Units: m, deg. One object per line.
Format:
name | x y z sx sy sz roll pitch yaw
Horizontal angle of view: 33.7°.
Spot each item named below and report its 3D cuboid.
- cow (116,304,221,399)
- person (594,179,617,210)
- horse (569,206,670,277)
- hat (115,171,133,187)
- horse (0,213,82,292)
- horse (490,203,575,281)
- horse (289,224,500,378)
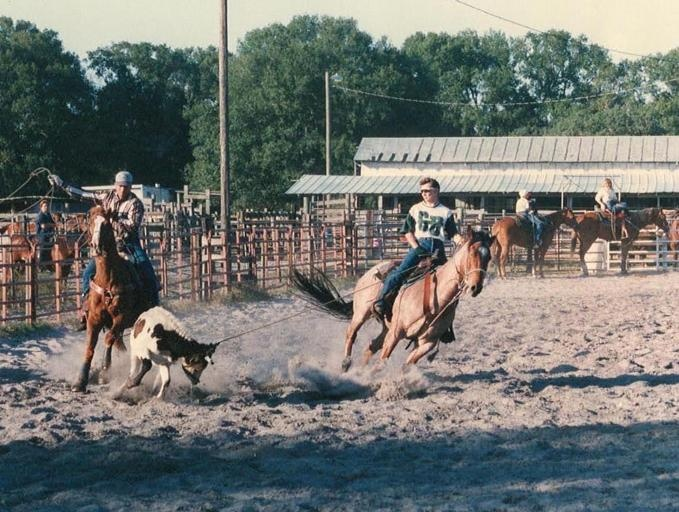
cow | -4.254 2.321 26.144 2.807 2.197 1.020 11 -2 28
person | 9.360 -2.154 38.853 0.654 1.127 1.540 0 2 6
horse | 9.787 -0.413 38.853 3.288 2.883 0.918 3 -20 14
hat | -5.156 -1.874 26.864 0.314 0.301 0.473 2 4 -4
horse | -8.724 -0.265 32.310 2.030 1.731 6.451 0 2 -14
horse | 6.725 -0.390 38.474 2.989 2.657 0.915 -1 -17 7
horse | 1.208 1.288 27.362 1.274 3.570 5.487 32 -23 -37
